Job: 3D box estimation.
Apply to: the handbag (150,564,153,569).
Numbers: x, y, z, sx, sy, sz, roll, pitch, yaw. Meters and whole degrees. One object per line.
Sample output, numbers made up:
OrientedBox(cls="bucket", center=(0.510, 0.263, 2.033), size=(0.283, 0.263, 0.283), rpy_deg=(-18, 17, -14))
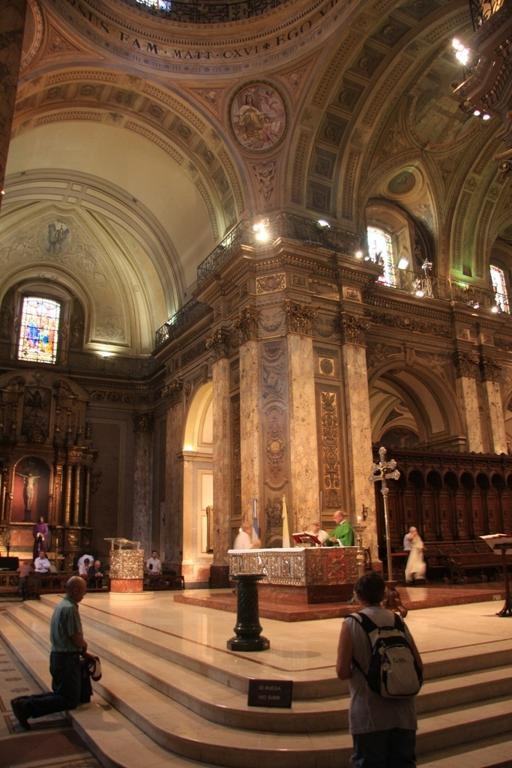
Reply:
OrientedBox(cls="handbag", center=(-2.840, 4.955, 15.833), size=(0.109, 0.117, 0.110), rpy_deg=(3, -15, -10))

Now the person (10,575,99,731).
OrientedBox(cls="person", center=(-1.416, 1.907, 4.209), size=(0.657, 0.973, 0.460), rpy_deg=(5, -14, -29))

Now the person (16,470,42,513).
OrientedBox(cls="person", center=(-6.802, 3.241, 17.388), size=(0.251, 1.387, 1.116), rpy_deg=(-25, -26, 38))

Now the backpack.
OrientedBox(cls="backpack", center=(0.516, 1.085, 2.311), size=(0.274, 0.324, 0.228), rpy_deg=(-4, -12, 8))

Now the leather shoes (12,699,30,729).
OrientedBox(cls="leather shoes", center=(-1.550, 2.168, 3.867), size=(0.083, 0.235, 0.104), rpy_deg=(-9, -4, -6))
